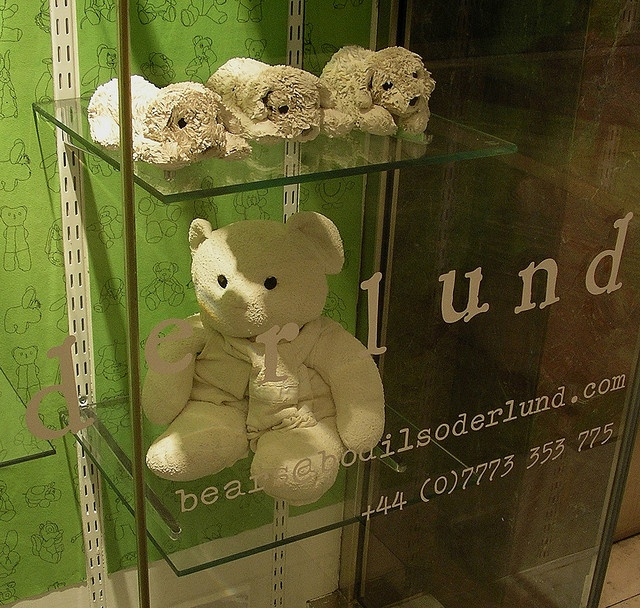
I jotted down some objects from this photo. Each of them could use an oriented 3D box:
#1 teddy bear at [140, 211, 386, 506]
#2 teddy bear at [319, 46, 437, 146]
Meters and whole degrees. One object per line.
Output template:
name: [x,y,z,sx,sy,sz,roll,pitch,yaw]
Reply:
teddy bear: [-0.061,0.043,1.081,0.394,0.452,0.355,3,32,-5]
teddy bear: [0.079,-0.285,0.940,0.167,0.134,0.057,-9,16,-14]
